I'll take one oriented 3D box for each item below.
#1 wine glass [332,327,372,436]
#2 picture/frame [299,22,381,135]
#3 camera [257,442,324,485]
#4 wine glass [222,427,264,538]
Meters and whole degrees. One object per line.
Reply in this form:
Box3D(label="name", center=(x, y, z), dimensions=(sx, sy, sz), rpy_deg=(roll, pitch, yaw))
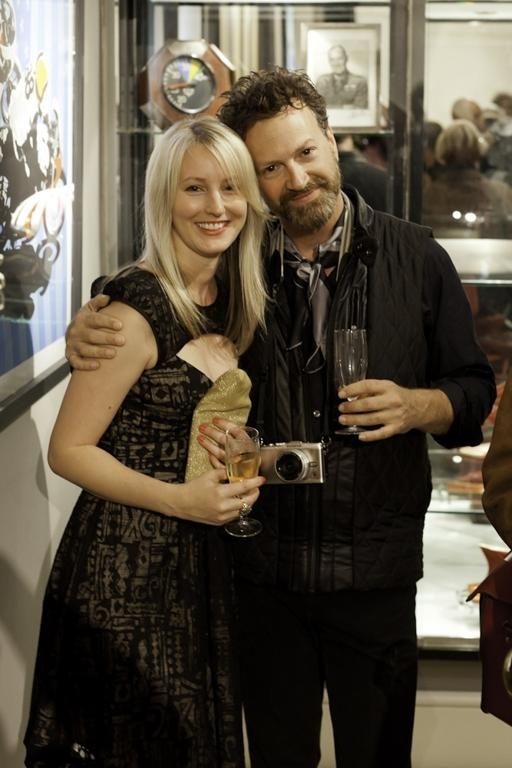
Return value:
Box3D(label="wine glass", center=(0.179, 0.000, 1.228), dimensions=(0.063, 0.218, 0.153), rpy_deg=(2, 13, 10))
Box3D(label="picture/frame", center=(0.266, -0.971, 2.051), dimensions=(0.251, 0.343, 0.017), rpy_deg=(0, -3, 2))
Box3D(label="camera", center=(0.068, 0.148, 1.204), dimensions=(0.139, 0.093, 0.073), rpy_deg=(0, -2, 11))
Box3D(label="wine glass", center=(-0.023, 0.167, 1.112), dimensions=(0.071, 0.178, 0.069), rpy_deg=(0, 8, 12))
